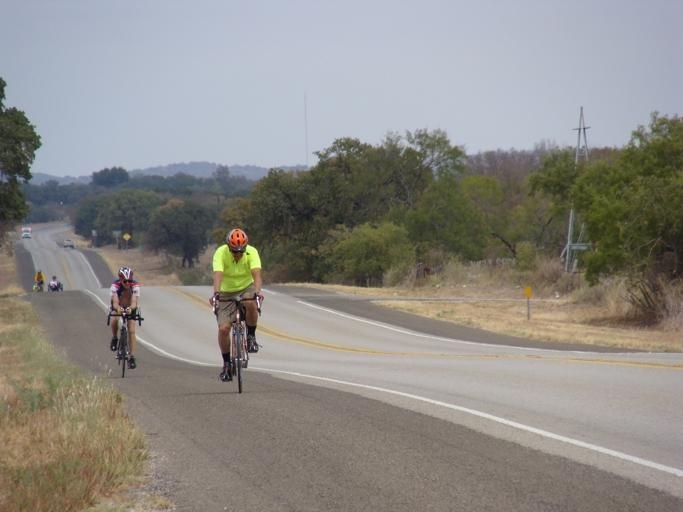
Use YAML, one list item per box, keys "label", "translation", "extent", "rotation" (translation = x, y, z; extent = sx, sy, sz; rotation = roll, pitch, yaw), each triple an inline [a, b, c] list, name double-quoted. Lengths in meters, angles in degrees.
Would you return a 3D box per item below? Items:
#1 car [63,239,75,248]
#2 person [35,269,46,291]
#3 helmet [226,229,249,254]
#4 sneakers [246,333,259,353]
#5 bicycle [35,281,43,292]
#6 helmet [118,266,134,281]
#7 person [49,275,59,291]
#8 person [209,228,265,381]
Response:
- label: "car"
  translation: [-34.163, -1.538, 109.779]
  extent: [1.290, 0.881, 2.550]
  rotation: [0, 8, -11]
- label: "person"
  translation: [-19.455, 1.593, 56.627]
  extent: [0.862, 1.466, 0.845]
  rotation: [0, -1, -26]
- label: "helmet"
  translation: [-2.299, -0.332, 19.342]
  extent: [0.427, 0.506, 0.473]
  rotation: [-1, 6, -8]
- label: "sneakers"
  translation: [-2.004, 1.965, 19.638]
  extent: [0.216, 0.392, 0.140]
  rotation: [1, -1, -13]
- label: "bicycle"
  translation: [-17.161, 1.702, 49.630]
  extent: [0.444, 0.632, 1.451]
  rotation: [1, 1, -12]
- label: "helmet"
  translation: [-5.568, 0.461, 22.675]
  extent: [0.393, 0.541, 0.531]
  rotation: [-2, 6, -20]
- label: "person"
  translation: [-18.753, 1.793, 57.272]
  extent: [0.573, 0.393, 1.345]
  rotation: [-4, -43, -18]
- label: "person"
  translation: [-2.347, 1.149, 19.595]
  extent: [1.089, 3.503, 0.919]
  rotation: [-1, 6, -7]
